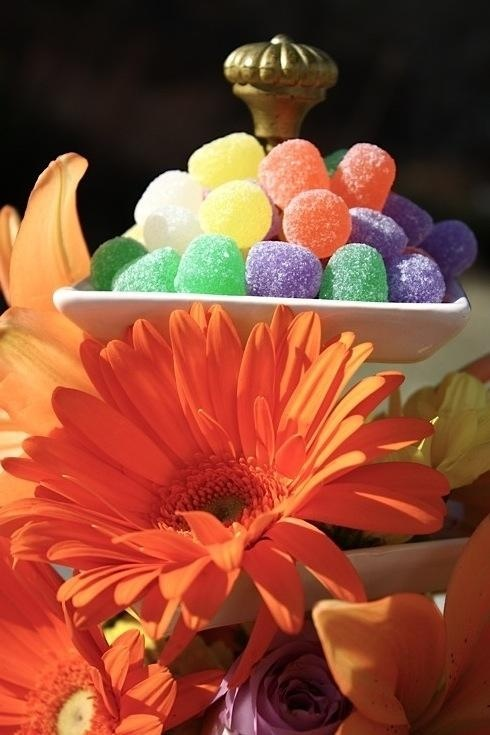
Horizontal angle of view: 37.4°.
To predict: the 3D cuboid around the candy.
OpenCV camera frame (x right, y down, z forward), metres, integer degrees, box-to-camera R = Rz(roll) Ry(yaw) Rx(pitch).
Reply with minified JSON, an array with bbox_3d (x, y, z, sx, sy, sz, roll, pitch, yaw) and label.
[{"bbox_3d":[0.016,-0.045,0.367,0.127,0.041,0.120,1,4,1],"label":"candy"}]
